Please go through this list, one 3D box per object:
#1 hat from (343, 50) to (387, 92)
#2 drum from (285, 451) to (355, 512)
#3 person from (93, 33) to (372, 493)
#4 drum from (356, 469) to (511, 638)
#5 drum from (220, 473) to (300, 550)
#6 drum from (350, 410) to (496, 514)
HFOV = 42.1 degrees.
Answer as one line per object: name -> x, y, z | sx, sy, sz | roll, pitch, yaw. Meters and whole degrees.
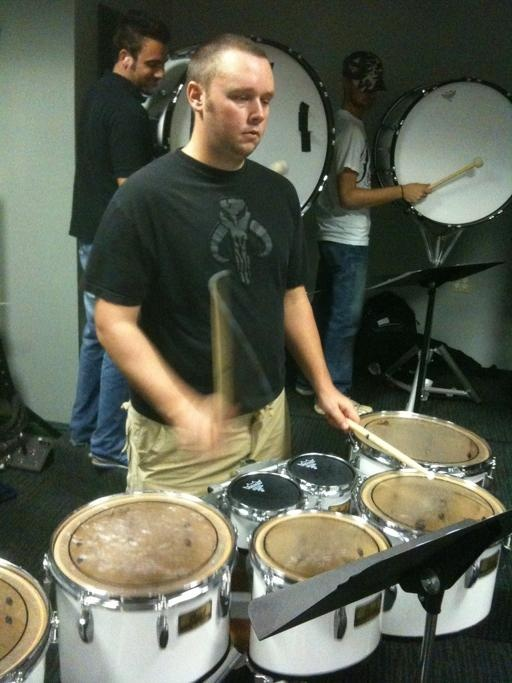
hat -> 0.421, -1.026, 2.530 | 0.112, 0.076, 0.157 | 17, -1, 44
drum -> 0.118, 0.243, 1.200 | 0.096, 0.091, 0.092 | 11, 34, 14
person -> -0.026, -0.092, 1.322 | 0.554, 0.947, 0.453 | -10, 19, -42
drum -> 0.267, 0.338, 1.113 | 0.264, 0.182, 0.249 | 0, 22, 0
drum -> 0.013, 0.266, 1.120 | 0.118, 0.101, 0.111 | -8, 31, -28
drum -> 0.344, 0.215, 1.376 | 0.227, 0.193, 0.211 | 5, 27, 6
